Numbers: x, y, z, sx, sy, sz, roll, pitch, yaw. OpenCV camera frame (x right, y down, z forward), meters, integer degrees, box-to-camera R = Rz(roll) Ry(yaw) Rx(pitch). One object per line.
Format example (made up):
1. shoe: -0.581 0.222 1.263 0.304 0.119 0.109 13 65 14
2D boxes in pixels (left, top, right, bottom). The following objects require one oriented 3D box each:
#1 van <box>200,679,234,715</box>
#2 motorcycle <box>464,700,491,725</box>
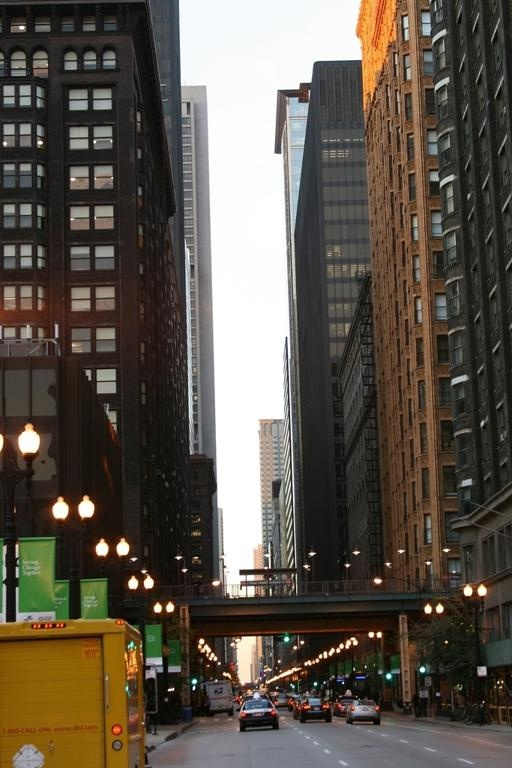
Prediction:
1. van: -3.088 25.464 107.107 1.951 2.726 4.193 -1 -3 0
2. motorcycle: 9.783 14.625 58.161 0.818 1.417 1.966 1 -7 6
